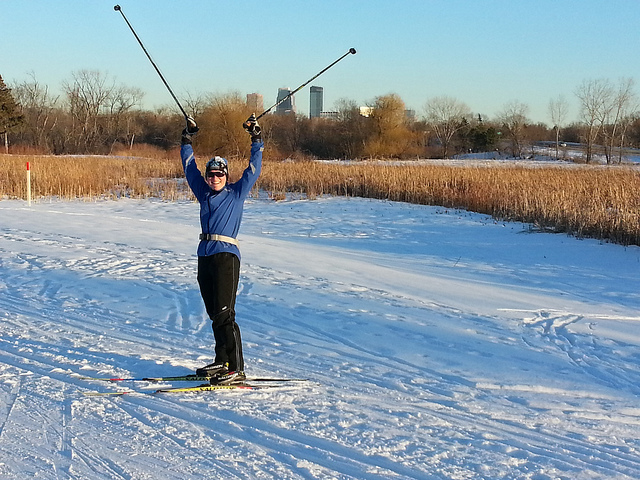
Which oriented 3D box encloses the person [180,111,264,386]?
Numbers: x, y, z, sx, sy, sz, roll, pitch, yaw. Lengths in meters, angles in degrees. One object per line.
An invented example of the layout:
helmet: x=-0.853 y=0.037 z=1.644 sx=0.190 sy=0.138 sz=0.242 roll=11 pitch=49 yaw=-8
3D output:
person: x=-1.208 y=0.038 z=9.116 sx=0.944 sy=3.089 sz=1.451 roll=0 pitch=13 yaw=-10

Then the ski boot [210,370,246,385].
ski boot: x=-1.082 y=1.612 z=8.809 sx=0.419 sy=0.141 sz=0.094 roll=-1 pitch=13 yaw=-15

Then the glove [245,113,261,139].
glove: x=-0.843 y=-1.459 z=9.485 sx=0.122 sy=0.226 sz=0.303 roll=-6 pitch=41 yaw=-12

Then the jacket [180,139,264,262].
jacket: x=-1.196 y=-0.506 z=9.159 sx=0.929 sy=1.345 sz=0.804 roll=2 pitch=13 yaw=-5
